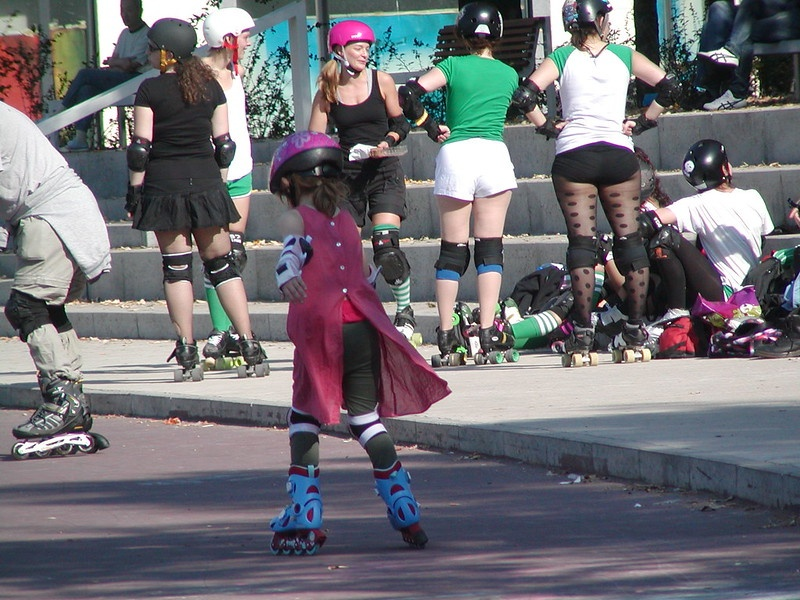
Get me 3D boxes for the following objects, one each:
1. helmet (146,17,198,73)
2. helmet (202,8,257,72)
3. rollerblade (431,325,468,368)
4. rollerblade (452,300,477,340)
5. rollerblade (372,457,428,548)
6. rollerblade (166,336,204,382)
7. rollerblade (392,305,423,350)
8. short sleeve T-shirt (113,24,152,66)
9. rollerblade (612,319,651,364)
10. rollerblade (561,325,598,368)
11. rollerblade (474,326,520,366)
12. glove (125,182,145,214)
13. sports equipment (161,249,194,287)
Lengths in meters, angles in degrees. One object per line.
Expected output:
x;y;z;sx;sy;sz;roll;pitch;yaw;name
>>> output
-1.504;-1.776;10.936;0.366;0.348;0.279;10;4;6;helmet
-1.275;-1.996;11.900;0.388;0.453;0.335;-4;10;-6;helmet
0.372;0.321;11.377;0.205;0.290;0.487;1;6;12;rollerblade
0.505;0.142;11.465;0.101;0.258;0.166;-13;-4;32;rollerblade
0.028;0.968;7.599;0.191;0.459;0.194;-22;0;9;rollerblade
-1.560;0.443;11.549;0.125;0.219;0.316;-3;5;1;rollerblade
0.034;0.193;11.564;0.144;0.284;0.408;-5;4;8;rollerblade
-2.877;-2.761;17.025;0.400;0.371;0.199;17;11;32;short sleeve T-shirt
1.646;0.311;11.284;0.191;0.292;0.514;3;-7;-8;rollerblade
1.283;0.284;11.131;0.237;0.312;0.452;1;7;-3;rollerblade
0.727;0.298;11.383;0.193;0.317;0.563;-7;-3;27;rollerblade
-1.843;-0.718;11.150;0.148;0.190;0.146;12;-1;-33;glove
-1.580;-0.226;11.165;0.211;0.205;0.256;7;3;7;sports equipment
